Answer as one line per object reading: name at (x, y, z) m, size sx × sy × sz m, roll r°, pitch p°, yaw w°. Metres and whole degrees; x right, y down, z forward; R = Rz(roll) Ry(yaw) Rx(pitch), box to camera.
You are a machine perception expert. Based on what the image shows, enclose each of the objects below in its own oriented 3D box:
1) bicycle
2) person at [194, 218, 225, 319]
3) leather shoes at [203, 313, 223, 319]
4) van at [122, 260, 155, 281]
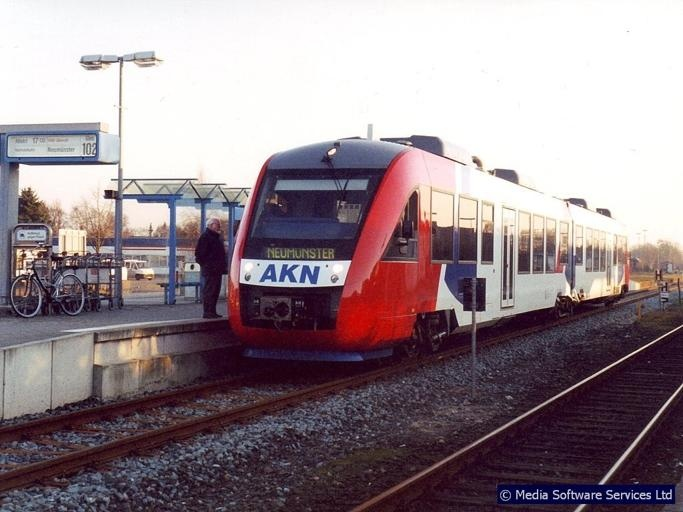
bicycle at (-6.841, 0.860, 15.271) m, size 0.922 × 1.344 × 2.082 m, roll -7°, pitch -7°, yaw 34°
person at (-2.792, 0.246, 13.984) m, size 0.661 × 1.958 × 1.105 m, roll 1°, pitch 0°, yaw -13°
leather shoes at (-2.670, 1.248, 13.617) m, size 0.424 × 0.188 × 0.152 m, roll -1°, pitch 0°, yaw -7°
van at (-18.053, 1.326, 58.042) m, size 3.351 × 1.795 × 2.130 m, roll 0°, pitch 2°, yaw 22°
